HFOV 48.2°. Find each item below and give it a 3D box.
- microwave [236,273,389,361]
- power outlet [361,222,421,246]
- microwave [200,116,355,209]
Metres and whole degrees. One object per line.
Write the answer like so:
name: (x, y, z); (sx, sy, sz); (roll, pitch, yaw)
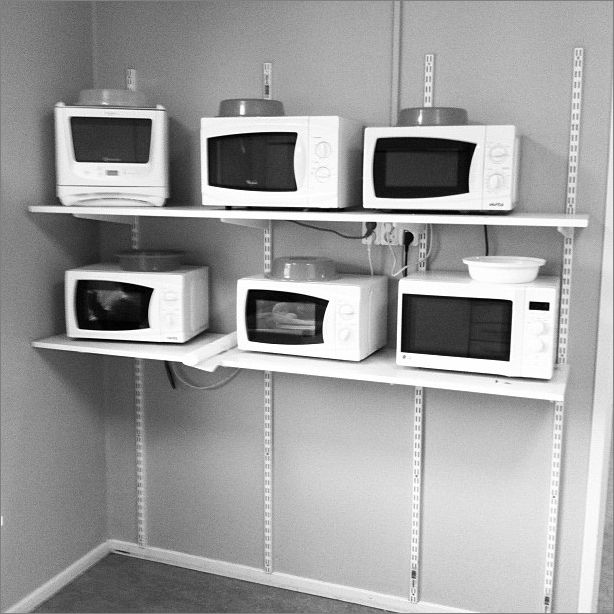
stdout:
microwave: (0.021, 0.008, 2.073); (0.355, 0.224, 0.263); (2, 5, 28)
power outlet: (0.263, -0.240, 2.180); (0.122, 0.081, 0.030); (5, 9, 14)
microwave: (-0.085, -0.420, 1.954); (0.368, 0.257, 0.295); (3, 8, 21)
